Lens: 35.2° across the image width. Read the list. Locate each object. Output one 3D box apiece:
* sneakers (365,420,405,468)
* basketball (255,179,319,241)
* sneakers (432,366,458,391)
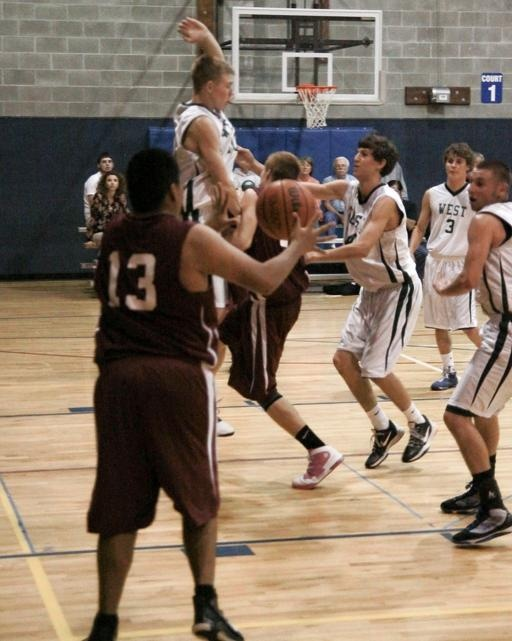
[{"bbox_3d":[0.640,0.625,4.008,0.117,0.238,0.086,38,4,-25],"label":"sneakers"},{"bbox_3d":[0.112,-0.392,2.831,0.279,0.203,0.264,-6,5,19],"label":"basketball"},{"bbox_3d":[1.361,0.432,5.854,0.123,0.145,0.358,-1,-1,35],"label":"sneakers"}]
